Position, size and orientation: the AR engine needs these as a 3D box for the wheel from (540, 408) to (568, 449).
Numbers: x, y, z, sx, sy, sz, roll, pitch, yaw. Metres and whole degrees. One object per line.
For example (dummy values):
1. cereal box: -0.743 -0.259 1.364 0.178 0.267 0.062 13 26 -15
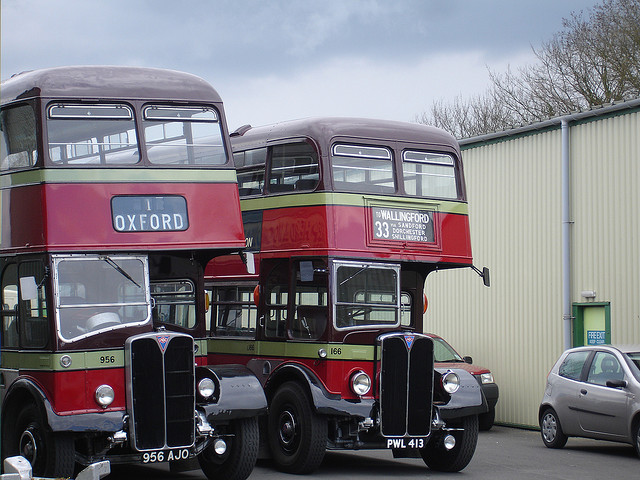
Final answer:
1. wheel: 4.841 3.854 16.055 0.237 0.786 0.766 0 -11 -3

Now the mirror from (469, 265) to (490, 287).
1. mirror: 2.891 0.657 14.253 0.399 0.614 0.327 -2 0 19

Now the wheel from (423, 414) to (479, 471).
1. wheel: 2.194 3.366 13.099 0.410 1.222 1.040 9 -5 -40

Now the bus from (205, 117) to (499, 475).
1. bus: 0.381 1.065 13.392 3.157 5.171 7.639 0 -1 -23

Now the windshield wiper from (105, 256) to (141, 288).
1. windshield wiper: -2.755 0.438 10.732 0.053 0.504 0.090 -44 17 -11

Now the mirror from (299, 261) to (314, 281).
1. mirror: -0.210 0.510 12.710 0.264 0.379 0.248 -1 0 1

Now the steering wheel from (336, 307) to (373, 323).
1. steering wheel: 0.574 1.235 12.922 0.655 0.247 0.036 0 -4 -24

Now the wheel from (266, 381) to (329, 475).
1. wheel: -0.348 3.048 12.719 0.546 1.779 1.511 1 -1 -31
